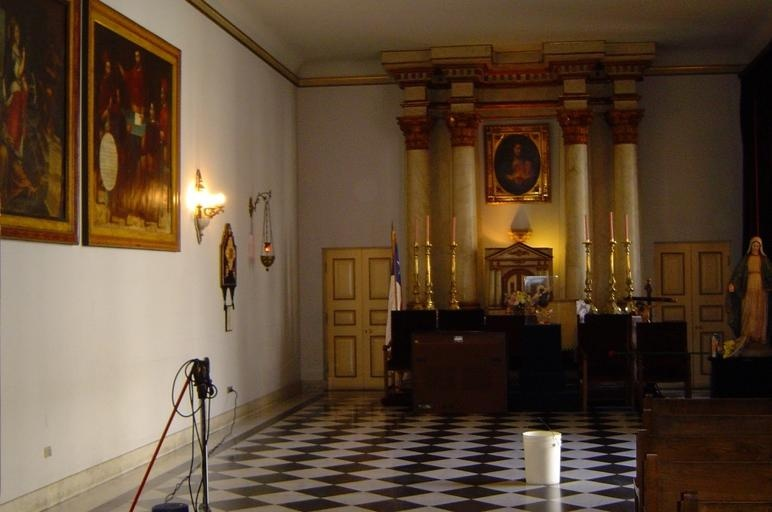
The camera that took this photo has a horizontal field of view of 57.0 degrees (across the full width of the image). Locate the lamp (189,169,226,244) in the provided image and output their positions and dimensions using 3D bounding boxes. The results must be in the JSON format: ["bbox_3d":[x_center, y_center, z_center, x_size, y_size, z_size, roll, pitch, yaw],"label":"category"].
[{"bbox_3d":[-2.602,-0.686,10.440,0.484,1.060,1.021,-1,7,-13],"label":"lamp"}]

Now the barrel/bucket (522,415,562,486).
[{"bbox_3d":[1.834,2.369,8.370,0.532,0.571,0.490,0,-7,0],"label":"barrel/bucket"}]

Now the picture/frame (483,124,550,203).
[{"bbox_3d":[2.570,-1.751,13.766,1.405,1.697,0.174,-1,-3,6],"label":"picture/frame"}]

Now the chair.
[{"bbox_3d":[2.664,1.702,11.451,4.189,1.625,1.235,-1,2,6],"label":"chair"}]
